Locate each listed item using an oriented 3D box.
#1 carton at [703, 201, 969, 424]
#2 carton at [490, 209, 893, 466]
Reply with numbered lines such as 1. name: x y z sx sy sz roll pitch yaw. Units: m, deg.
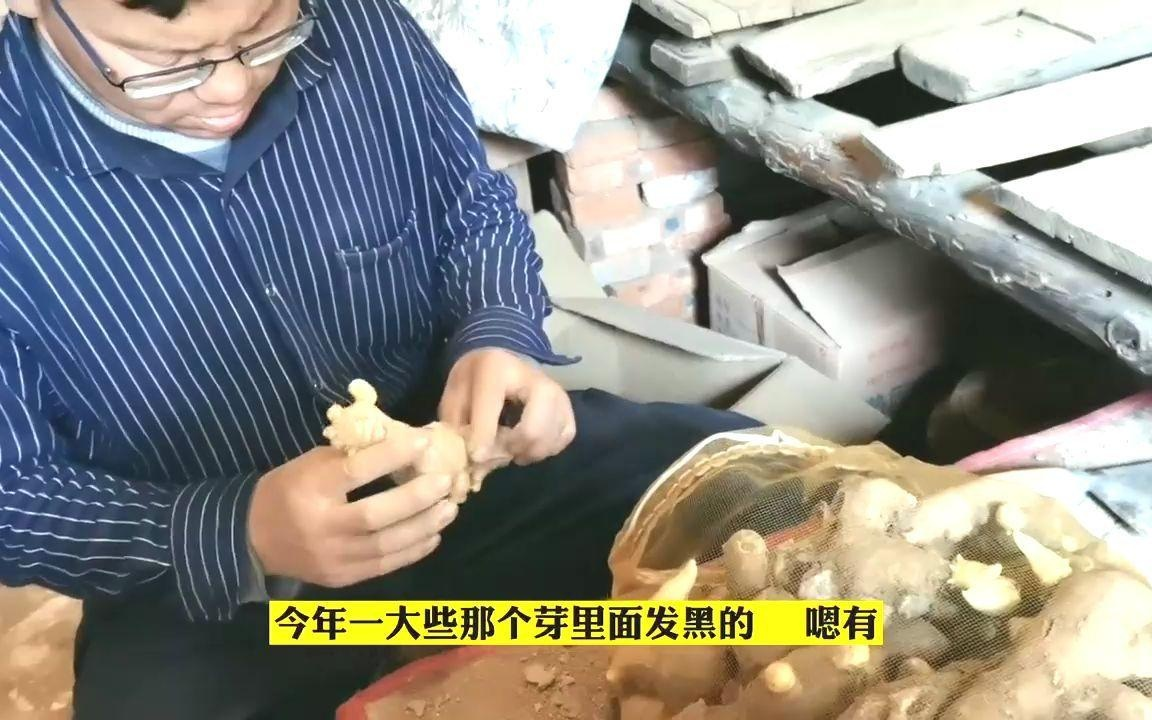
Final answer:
1. carton: 0.598 -0.212 2.057 0.531 0.339 0.530 -29 49 -26
2. carton: 0.247 -0.003 1.797 0.537 0.210 0.573 21 33 10
